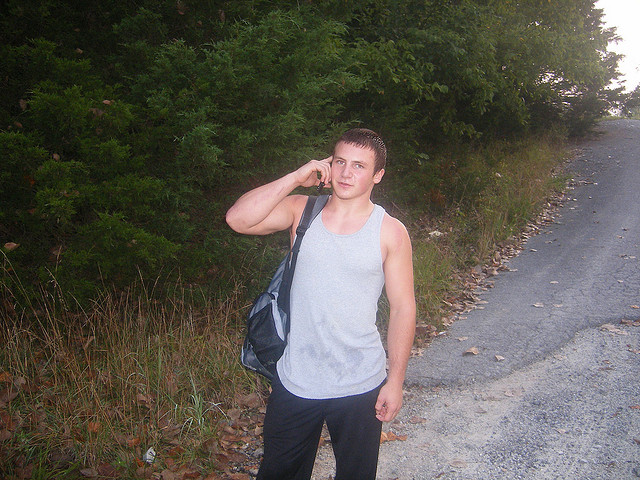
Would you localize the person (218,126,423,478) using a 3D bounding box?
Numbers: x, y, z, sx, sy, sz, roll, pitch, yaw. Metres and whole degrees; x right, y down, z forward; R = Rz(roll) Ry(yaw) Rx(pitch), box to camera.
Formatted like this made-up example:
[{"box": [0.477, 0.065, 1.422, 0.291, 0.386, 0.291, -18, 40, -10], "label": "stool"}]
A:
[{"box": [0.105, 0.534, 4.752, 1.489, 3.052, 0.836, 6, 7, -9], "label": "person"}]

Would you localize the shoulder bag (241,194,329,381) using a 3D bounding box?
[{"box": [-0.321, 0.419, 4.868, 0.591, 1.735, 0.601, 10, 13, 3], "label": "shoulder bag"}]

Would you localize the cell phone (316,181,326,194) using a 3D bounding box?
[{"box": [0.010, -0.471, 4.957, 0.071, 0.120, 0.036, 32, 33, 8], "label": "cell phone"}]
